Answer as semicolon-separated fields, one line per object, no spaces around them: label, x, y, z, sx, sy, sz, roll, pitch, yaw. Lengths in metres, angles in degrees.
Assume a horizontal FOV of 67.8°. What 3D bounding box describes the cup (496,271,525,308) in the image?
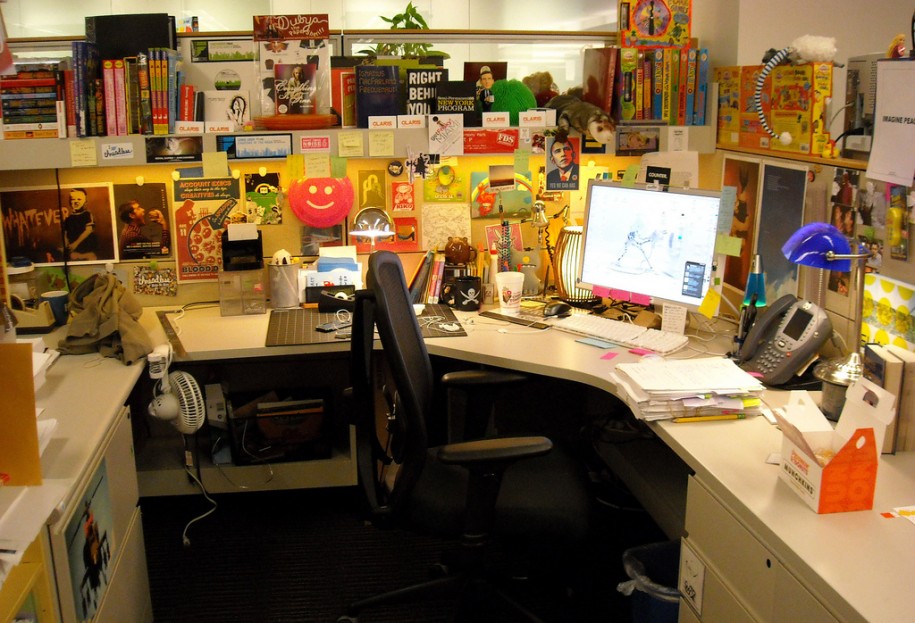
cup;0.237;-0.100;3.092;0.144;0.157;0.150;0;3;0

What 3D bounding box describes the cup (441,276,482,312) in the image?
cup;0.032;-0.081;3.190;0.201;0.156;0.123;-5;13;-9

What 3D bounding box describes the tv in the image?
tv;0.823;-0.266;2.858;0.535;0.405;0.050;19;16;38

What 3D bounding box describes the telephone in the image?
telephone;1.155;0.098;2.403;0.345;0.133;0.265;-46;27;1

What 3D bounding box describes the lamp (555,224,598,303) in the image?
lamp;0.502;-0.239;3.297;0.292;0.400;0.300;-1;16;2

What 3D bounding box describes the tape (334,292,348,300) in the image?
tape;-0.530;-0.071;3.132;0.038;0.012;0.036;19;21;34

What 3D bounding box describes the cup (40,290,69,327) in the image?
cup;-1.749;-0.018;2.997;0.108;0.152;0.164;-7;23;-28

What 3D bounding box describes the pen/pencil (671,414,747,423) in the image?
pen/pencil;0.801;0.345;2.191;0.181;0.021;0.020;-1;5;-1

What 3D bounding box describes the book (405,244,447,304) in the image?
book;-0.210;-0.180;3.432;0.200;0.372;0.284;5;2;-17
